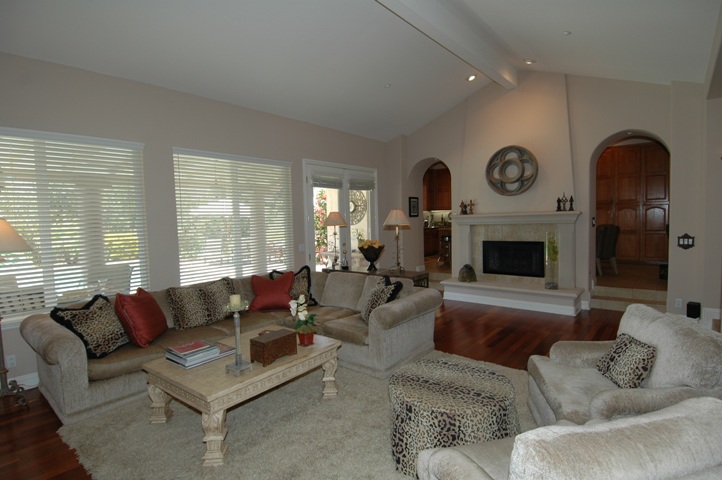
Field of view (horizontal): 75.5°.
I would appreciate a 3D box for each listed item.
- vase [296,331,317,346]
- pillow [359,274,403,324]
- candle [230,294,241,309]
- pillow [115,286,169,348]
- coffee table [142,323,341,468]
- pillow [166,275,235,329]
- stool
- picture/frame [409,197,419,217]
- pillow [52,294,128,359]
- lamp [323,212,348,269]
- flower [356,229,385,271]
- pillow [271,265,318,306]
[{"bbox_3d":[-0.607,1.064,5.202,0.161,0.144,0.189,-2,-2,39],"label":"vase"},{"bbox_3d":[0.273,0.709,6.156,0.449,0.844,0.918,7,-5,-14],"label":"pillow"},{"bbox_3d":[-1.289,0.614,4.791,0.103,0.130,0.228,-4,4,-16],"label":"candle"},{"bbox_3d":[-2.613,0.883,5.639,0.369,0.637,0.730,0,6,-1],"label":"pillow"},{"bbox_3d":[-1.276,1.591,5.355,1.250,0.704,1.927,6,9,36],"label":"coffee table"},{"bbox_3d":[-2.066,0.798,5.942,0.248,0.550,0.883,-22,-9,39],"label":"pillow"},{"bbox_3d":[0.772,1.573,4.512,0.954,0.642,0.974,-4,-3,-5],"label":"stool"},{"bbox_3d":[1.084,-0.707,9.673,0.056,0.444,0.380,4,7,33],"label":"picture/frame"},{"bbox_3d":[-3.039,0.969,5.274,0.566,0.639,0.497,-2,4,21],"label":"pillow"},{"bbox_3d":[-0.434,-0.029,8.200,0.345,0.999,1.128,-3,4,-1],"label":"lamp"},{"bbox_3d":[0.158,0.259,7.779,0.424,0.485,0.437,-10,14,-23],"label":"flower"},{"bbox_3d":[-0.831,0.627,6.663,0.548,0.578,0.171,-5,-22,-12],"label":"pillow"}]
